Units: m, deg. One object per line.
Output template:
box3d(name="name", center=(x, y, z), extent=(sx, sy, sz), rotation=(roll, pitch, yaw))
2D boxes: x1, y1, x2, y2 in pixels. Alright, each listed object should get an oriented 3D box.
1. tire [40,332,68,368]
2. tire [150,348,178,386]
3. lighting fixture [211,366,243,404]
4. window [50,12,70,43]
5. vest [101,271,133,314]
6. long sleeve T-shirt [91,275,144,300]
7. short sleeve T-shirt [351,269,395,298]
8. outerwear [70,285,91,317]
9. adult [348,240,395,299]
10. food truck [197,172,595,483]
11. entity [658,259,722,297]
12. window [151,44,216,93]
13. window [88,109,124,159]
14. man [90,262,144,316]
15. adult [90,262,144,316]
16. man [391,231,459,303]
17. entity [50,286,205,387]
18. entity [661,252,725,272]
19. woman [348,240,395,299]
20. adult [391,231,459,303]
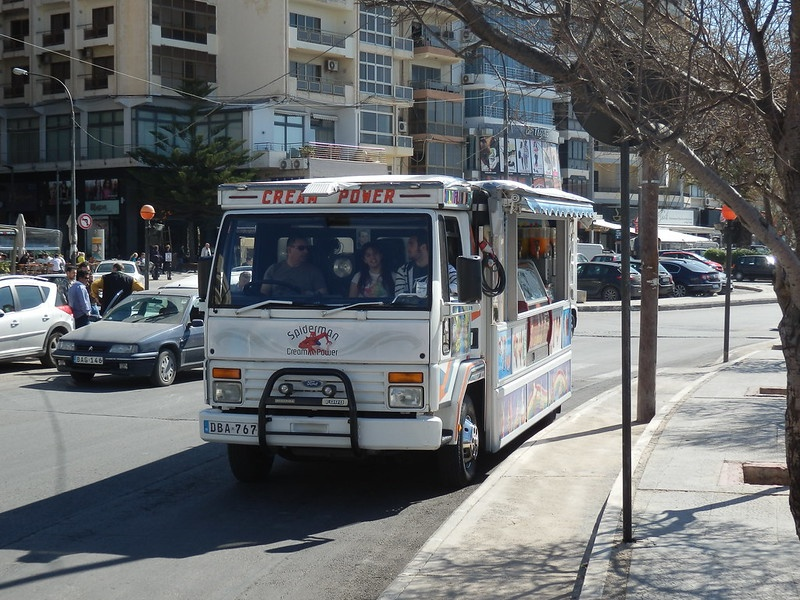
box3d(name="tire", center=(-6.380, 0.880, 17.918), extent=(0.201, 0.705, 0.651), rotation=(-5, -3, 30))
box3d(name="tire", center=(-4.124, 1.193, 16.975), extent=(0.183, 0.623, 0.584), rotation=(-1, -2, 22))
box3d(name="lighting fixture", center=(-1.727, 0.851, 9.726), extent=(0.350, 0.353, 0.066), rotation=(0, 6, 23))
box3d(name="window", center=(-20.309, -16.360, 58.266), extent=(1.868, 2.404, 0.210), rotation=(-2, -6, 31))
box3d(name="vest", center=(-5.603, -0.144, 19.276), extent=(0.732, 1.113, 0.567), rotation=(1, -3, -5))
box3d(name="long sleeve T-shirt", center=(-5.880, -0.267, 20.188), extent=(0.565, 0.543, 1.178), rotation=(-1, -6, 4))
box3d(name="short sleeve T-shirt", center=(-0.277, -0.149, 9.595), extent=(0.438, 0.242, 0.154), rotation=(-2, 6, 1))
box3d(name="outerwear", center=(-6.227, 0.014, 18.914), extent=(0.500, 0.511, 0.267), rotation=(6, 11, 44))
box3d(name="adult", center=(-0.264, -0.290, 9.627), extent=(0.435, 0.902, 0.272), rotation=(-1, -23, 0))
box3d(name="food truck", center=(0.185, 0.232, 11.294), extent=(2.667, 2.569, 4.342), rotation=(-1, -2, 22))
box3d(name="entity", center=(11.911, -0.940, 39.488), extent=(2.949, 1.121, 1.415), rotation=(4, 4, 33))
box3d(name="window", center=(-12.686, -13.693, 56.985), extent=(3.965, 2.380, 0.397), rotation=(-7, 8, -36))
box3d(name="window", center=(-16.951, -9.623, 56.387), extent=(2.762, 3.463, 0.129), rotation=(0, -1, 28))
box3d(name="man", center=(-5.865, -0.228, 20.125), extent=(0.810, 0.787, 1.501), rotation=(-2, -5, 0))
box3d(name="adult", center=(-5.892, -0.230, 20.211), extent=(0.810, 0.787, 1.501), rotation=(-2, -5, 0))
box3d(name="man", center=(0.245, -0.356, 9.747), extent=(0.696, 1.055, 0.572), rotation=(2, 8, 15))
box3d(name="entity", center=(-4.635, 0.635, 17.074), extent=(1.918, 1.508, 3.371), rotation=(-1, -1, 21))
box3d(name="entity", center=(13.414, -1.780, 44.677), extent=(3.361, 1.370, 1.562), rotation=(2, 4, 42))
box3d(name="woman", center=(-0.264, -0.290, 9.627), extent=(0.435, 0.902, 0.272), rotation=(-1, -23, 0))
box3d(name="adult", center=(0.187, -0.429, 9.765), extent=(0.696, 1.055, 0.572), rotation=(2, 8, 15))
